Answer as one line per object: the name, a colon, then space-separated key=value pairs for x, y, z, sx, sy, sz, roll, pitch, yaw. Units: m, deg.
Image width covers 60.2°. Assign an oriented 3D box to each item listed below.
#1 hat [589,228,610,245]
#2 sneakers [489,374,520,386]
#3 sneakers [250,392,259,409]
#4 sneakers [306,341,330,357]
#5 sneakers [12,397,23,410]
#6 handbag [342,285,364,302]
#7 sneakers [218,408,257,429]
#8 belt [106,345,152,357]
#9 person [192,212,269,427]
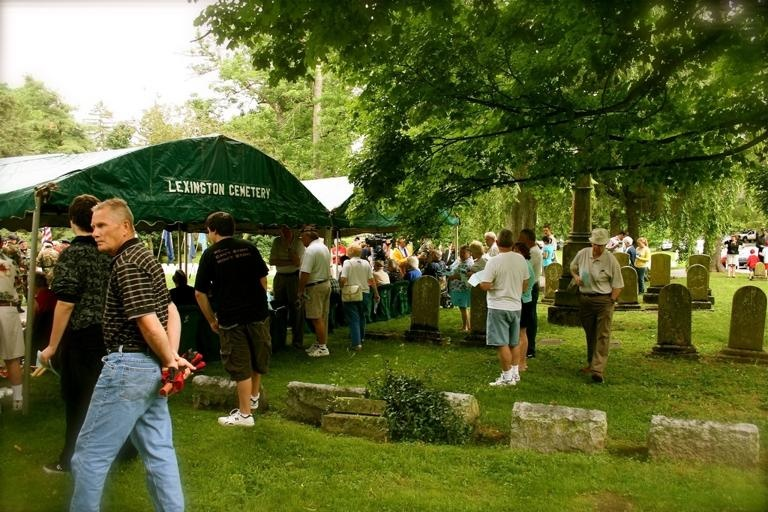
hat: x=3.745 y=-0.330 z=11.520 sx=0.285 sy=0.175 sz=0.374 roll=1 pitch=11 yaw=18
sneakers: x=2.032 y=2.075 z=11.155 sx=0.583 sy=0.245 sz=0.195 roll=-1 pitch=-6 yaw=-6
sneakers: x=-1.856 y=2.107 z=9.542 sx=0.107 sy=0.147 sz=0.219 roll=3 pitch=6 yaw=1
sneakers: x=-1.298 y=1.858 z=13.033 sx=0.436 sy=0.192 sz=0.214 roll=3 pitch=-5 yaw=-33
sneakers: x=-5.535 y=2.255 z=10.072 sx=0.170 sy=0.173 sz=0.176 roll=-3 pitch=-13 yaw=14
handbag: x=-0.620 y=0.797 z=13.373 sx=0.538 sy=0.434 sz=0.274 roll=-2 pitch=-7 yaw=5
sneakers: x=-2.003 y=2.252 z=9.148 sx=0.540 sy=0.229 sz=0.213 roll=5 pitch=-13 yaw=4
belt: x=-2.641 y=0.980 z=6.857 sx=0.457 sy=0.103 sz=0.077 roll=1 pitch=-1 yaw=4
person: x=-2.106 y=0.865 z=9.294 sx=1.004 sy=2.347 sz=0.567 roll=1 pitch=-1 yaw=-11
